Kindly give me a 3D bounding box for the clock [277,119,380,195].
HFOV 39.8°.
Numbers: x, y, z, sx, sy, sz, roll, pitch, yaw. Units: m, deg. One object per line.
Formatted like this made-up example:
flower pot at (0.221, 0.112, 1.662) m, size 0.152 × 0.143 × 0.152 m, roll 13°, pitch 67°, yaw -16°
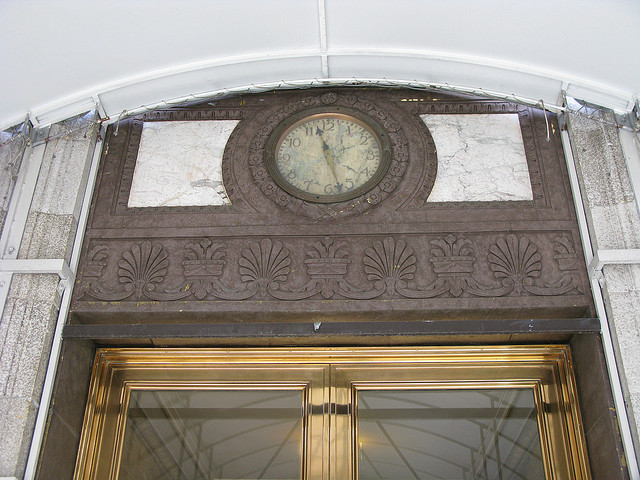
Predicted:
clock at (0.058, -0.541, 5.711) m, size 0.834 × 0.057 × 0.762 m, roll -3°, pitch -52°, yaw -3°
